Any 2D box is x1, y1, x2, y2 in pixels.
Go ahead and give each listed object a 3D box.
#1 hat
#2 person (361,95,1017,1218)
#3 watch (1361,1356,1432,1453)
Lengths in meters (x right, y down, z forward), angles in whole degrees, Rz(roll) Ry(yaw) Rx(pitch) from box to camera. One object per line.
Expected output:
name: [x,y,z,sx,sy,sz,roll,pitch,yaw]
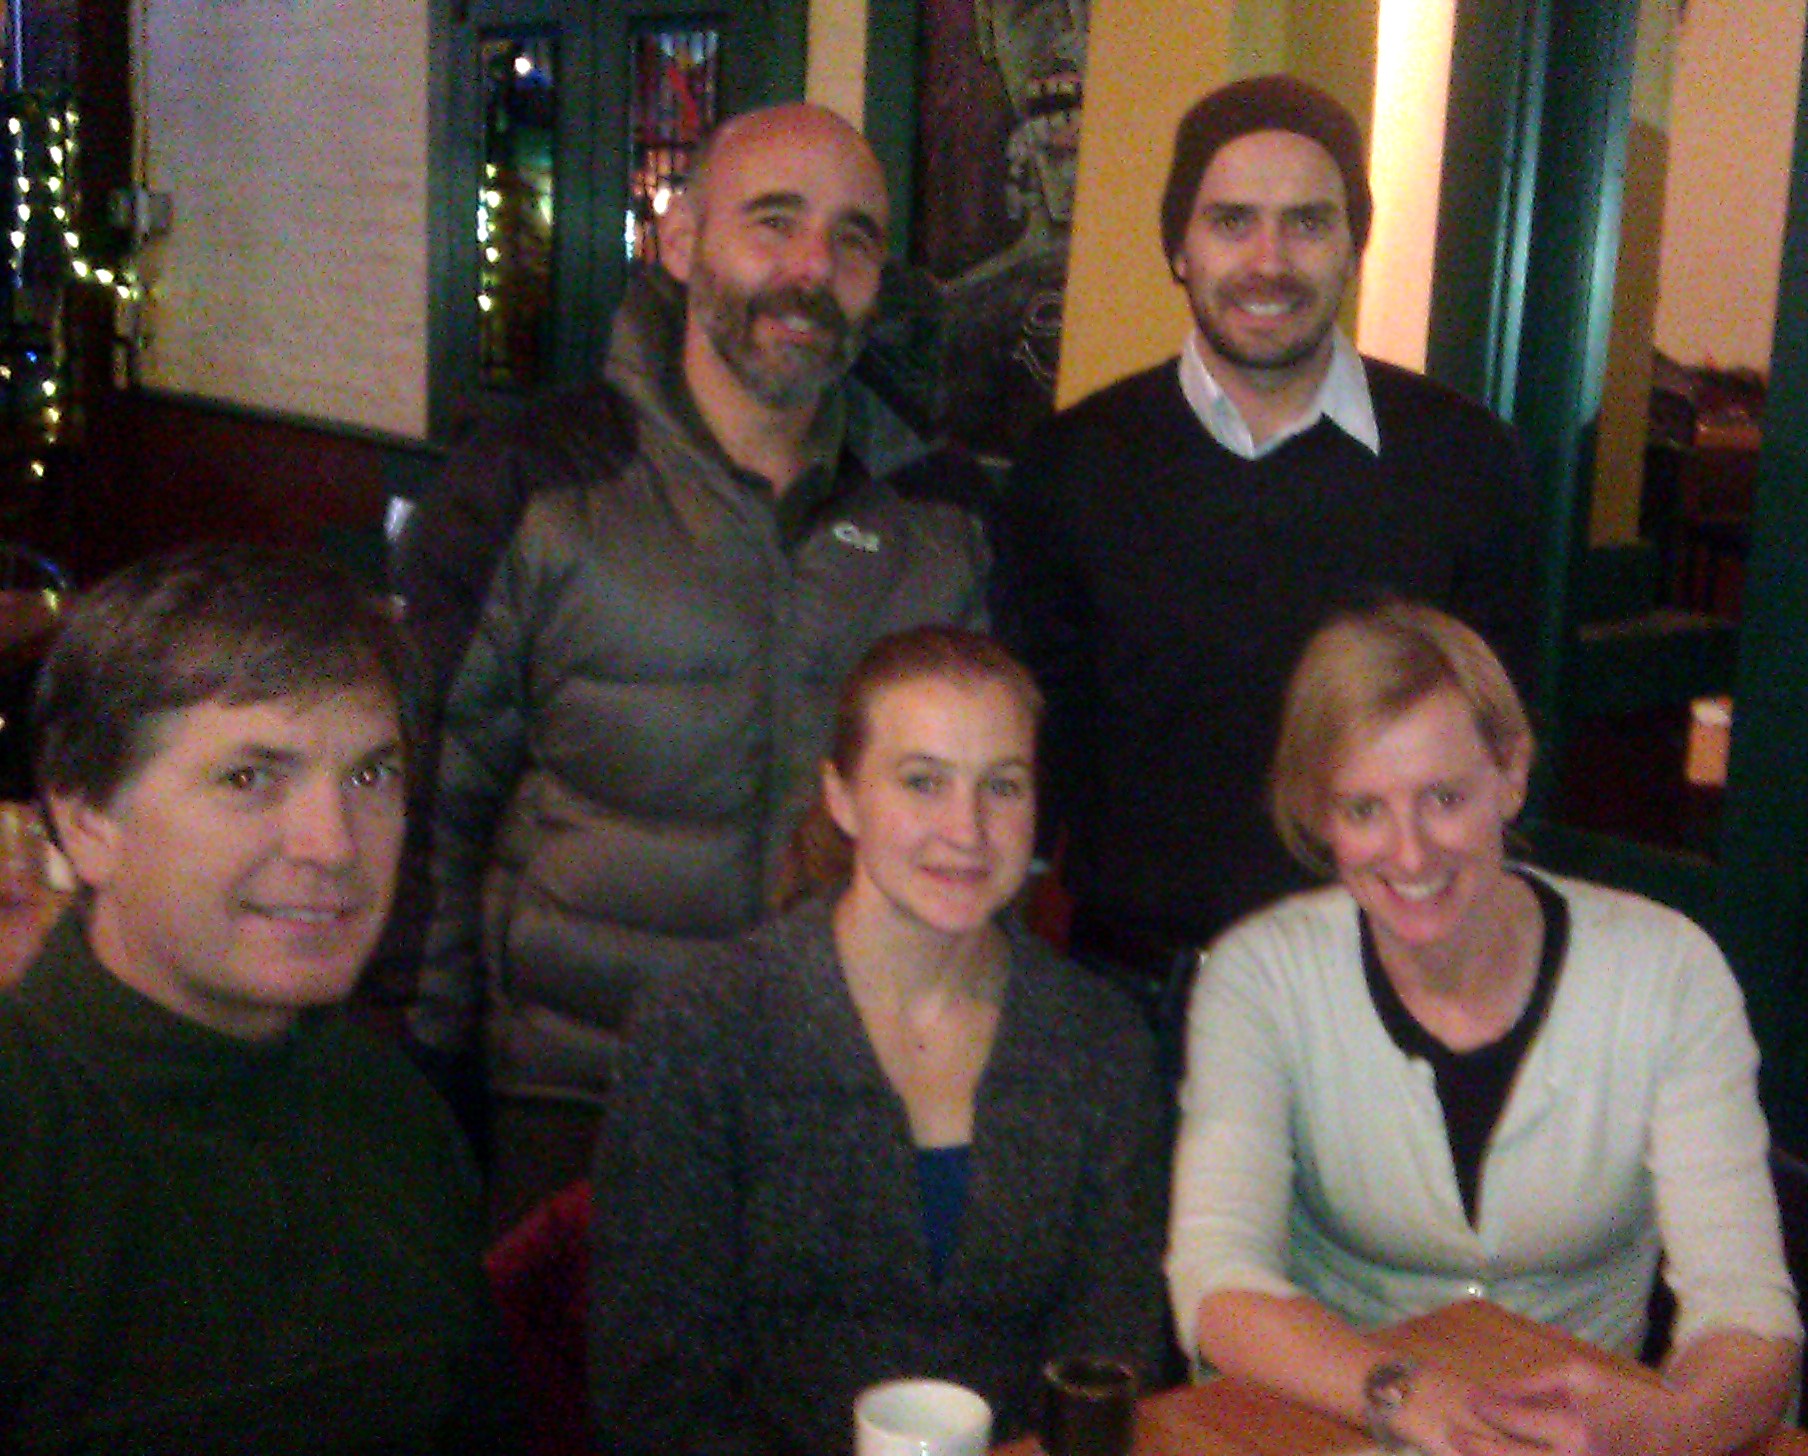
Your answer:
hat: [0.489,-0.718,2.422,0.229,0.198,0.243,0,-10,0]
person: [-0.297,0.198,2.486,0.813,2.021,0.495,2,18,-19]
watch: [0.449,0.620,1.621,0.043,0.066,0.068,-14,8,-6]
